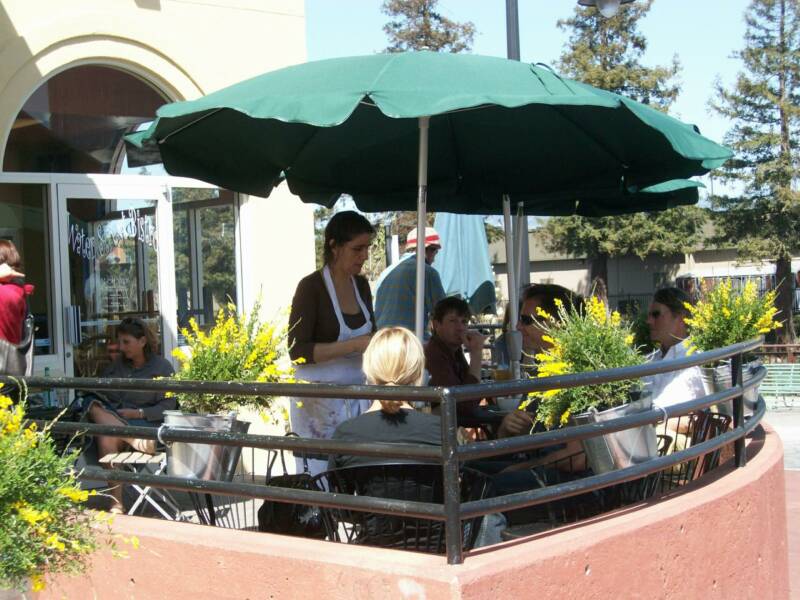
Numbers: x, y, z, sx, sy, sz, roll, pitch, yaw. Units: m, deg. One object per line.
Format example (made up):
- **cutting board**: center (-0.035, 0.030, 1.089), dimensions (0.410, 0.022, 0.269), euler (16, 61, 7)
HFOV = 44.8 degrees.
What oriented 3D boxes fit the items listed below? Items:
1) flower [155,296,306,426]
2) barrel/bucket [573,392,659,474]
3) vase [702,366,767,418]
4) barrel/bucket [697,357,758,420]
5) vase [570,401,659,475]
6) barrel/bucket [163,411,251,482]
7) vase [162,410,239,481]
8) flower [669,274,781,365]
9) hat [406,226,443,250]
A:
- **flower**: center (-1.123, 0.405, 6.311), dimensions (0.671, 0.947, 0.817), euler (12, 25, 26)
- **barrel/bucket**: center (1.204, 0.744, 5.357), dimensions (0.441, 0.376, 0.402), euler (-15, -12, -3)
- **vase**: center (2.112, 0.550, 6.174), dimensions (0.357, 0.336, 0.424), euler (-1, -5, -3)
- **barrel/bucket**: center (2.101, 0.563, 6.206), dimensions (0.346, 0.323, 0.407), euler (-2, -5, -4)
- **vase**: center (1.184, 0.814, 5.324), dimensions (0.379, 0.359, 0.432), euler (-22, -6, 37)
- **barrel/bucket**: center (-1.106, 0.904, 5.416), dimensions (0.322, 0.342, 0.309), euler (19, -12, 4)
- **vase**: center (-1.088, 0.802, 5.351), dimensions (0.365, 0.311, 0.359), euler (2, -5, -3)
- **flower**: center (2.184, 0.107, 6.453), dimensions (0.564, 0.481, 0.340), euler (-3, -1, 18)
- **hat**: center (0.254, -0.627, 9.889), dimensions (0.370, 0.227, 0.297), euler (-5, 4, -3)
